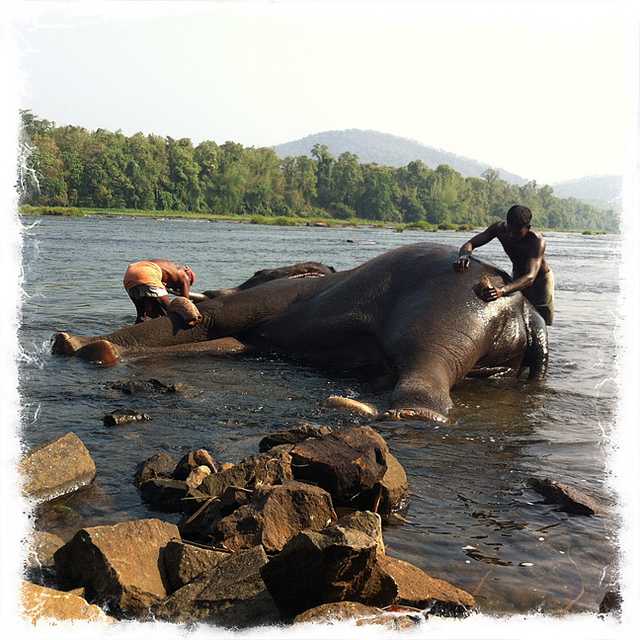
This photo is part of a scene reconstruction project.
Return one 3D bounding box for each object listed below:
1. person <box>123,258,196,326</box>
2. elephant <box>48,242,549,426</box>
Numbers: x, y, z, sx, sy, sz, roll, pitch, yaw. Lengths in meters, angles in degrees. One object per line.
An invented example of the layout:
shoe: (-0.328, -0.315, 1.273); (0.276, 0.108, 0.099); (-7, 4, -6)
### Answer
person: (-2.353, -0.402, 11.883); (0.812, 0.855, 1.973); (5, 6, 13)
elephant: (0.096, -0.096, 9.376); (5.016, 1.669, 3.359); (7, 8, 39)
